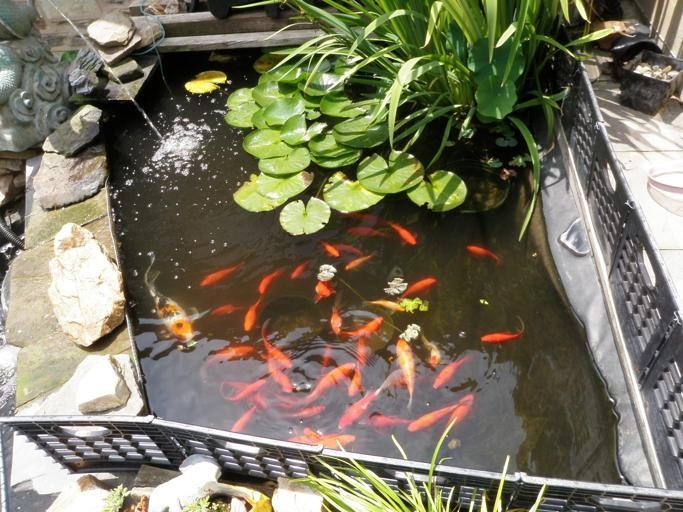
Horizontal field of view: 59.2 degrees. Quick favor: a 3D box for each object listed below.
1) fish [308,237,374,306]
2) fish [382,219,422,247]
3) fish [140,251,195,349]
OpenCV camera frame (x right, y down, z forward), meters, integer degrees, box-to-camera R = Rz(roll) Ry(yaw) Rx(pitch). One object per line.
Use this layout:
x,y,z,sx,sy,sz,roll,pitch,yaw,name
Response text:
0.034,0.098,4.017,0.355,0.075,0.459,-1,52,11,fish
0.446,-0.164,4.132,0.104,0.039,0.265,-32,53,-14,fish
-1.141,0.316,4.073,0.237,0.165,0.647,-32,66,1,fish
